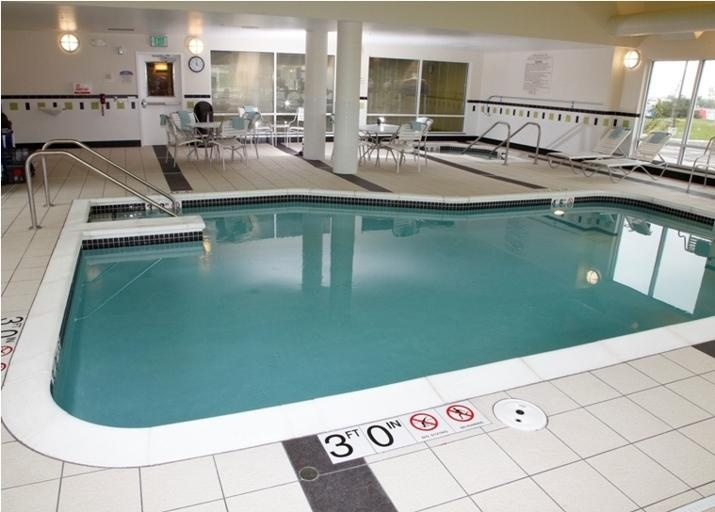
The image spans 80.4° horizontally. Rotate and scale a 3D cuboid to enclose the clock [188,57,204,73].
[{"bbox_3d":[-4.364,-5.153,11.421,0.394,0.389,0.064,-20,35,-25],"label":"clock"}]
